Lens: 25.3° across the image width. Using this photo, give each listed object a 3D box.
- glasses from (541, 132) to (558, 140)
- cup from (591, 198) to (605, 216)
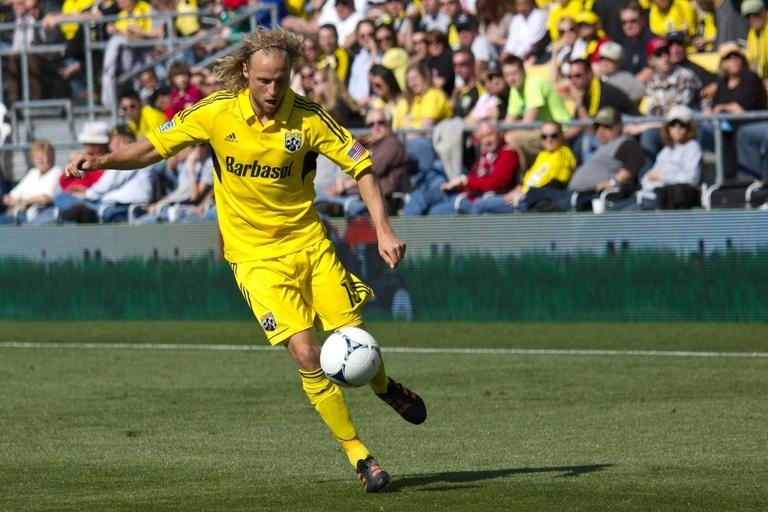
[{"bbox_3d":[1.925,-1.361,19.404,0.209,0.068,0.046,0,8,22],"label":"glasses"},{"bbox_3d":[2.387,-0.546,18.613,0.143,0.150,0.262,-2,7,7],"label":"cup"}]
